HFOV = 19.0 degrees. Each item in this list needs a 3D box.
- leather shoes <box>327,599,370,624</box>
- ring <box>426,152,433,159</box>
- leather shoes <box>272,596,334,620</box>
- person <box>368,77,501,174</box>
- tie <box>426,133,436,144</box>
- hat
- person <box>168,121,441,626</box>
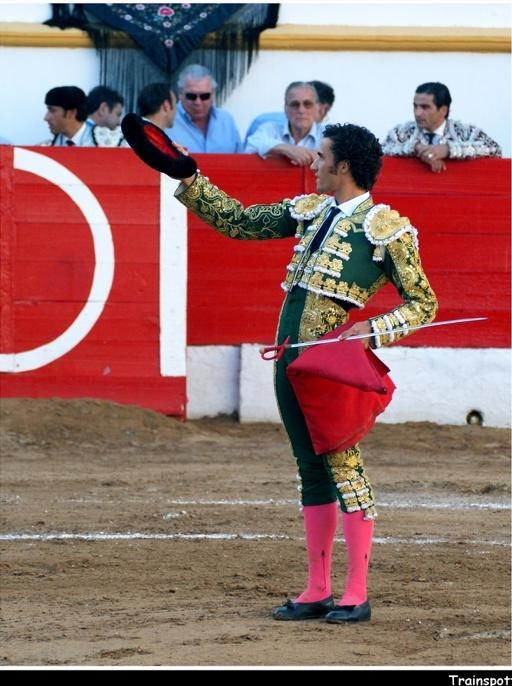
[{"bbox_3d":[0.356,1.002,5.655,0.182,0.067,0.063,2,-3,-15],"label":"leather shoes"},{"bbox_3d":[1.082,-1.145,9.340,0.035,0.032,0.008,6,11,6],"label":"ring"},{"bbox_3d":[0.194,1.000,5.772,0.231,0.082,0.082,1,-2,-6],"label":"leather shoes"},{"bbox_3d":[1.149,-1.300,9.422,0.778,0.496,0.381,8,18,39],"label":"person"},{"bbox_3d":[1.100,-1.255,9.397,0.077,0.084,0.010,-1,0,3],"label":"tie"},{"bbox_3d":[-0.360,-0.735,5.755,0.107,0.344,0.173,-41,20,38],"label":"hat"},{"bbox_3d":[0.220,0.108,5.719,0.879,1.832,0.469,10,14,41],"label":"person"}]
